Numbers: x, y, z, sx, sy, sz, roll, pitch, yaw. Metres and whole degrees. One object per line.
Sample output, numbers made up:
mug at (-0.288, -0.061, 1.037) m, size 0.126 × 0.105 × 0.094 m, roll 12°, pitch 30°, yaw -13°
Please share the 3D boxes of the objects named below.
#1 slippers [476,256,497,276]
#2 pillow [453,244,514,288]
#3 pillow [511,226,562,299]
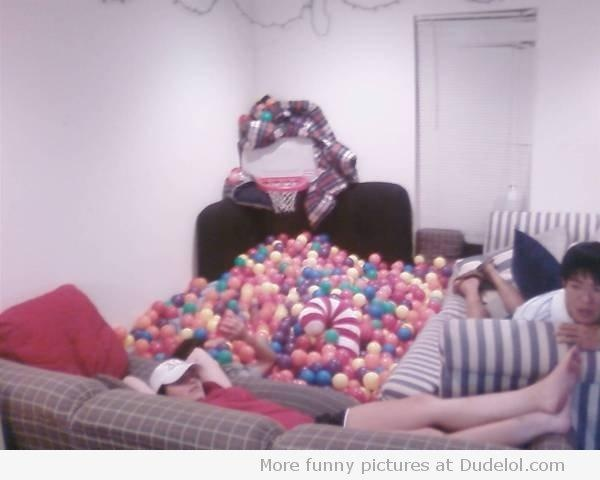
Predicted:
slippers at (0.985, 0.133, 2.679) m, size 0.096 × 0.035 × 0.097 m, roll -41°, pitch 10°, yaw -1°
pillow at (1.023, 0.147, 2.855) m, size 0.238 × 0.079 × 0.221 m, roll -7°, pitch 12°, yaw 38°
pillow at (1.080, 0.120, 2.365) m, size 0.088 × 0.305 × 0.287 m, roll -12°, pitch -44°, yaw 39°
